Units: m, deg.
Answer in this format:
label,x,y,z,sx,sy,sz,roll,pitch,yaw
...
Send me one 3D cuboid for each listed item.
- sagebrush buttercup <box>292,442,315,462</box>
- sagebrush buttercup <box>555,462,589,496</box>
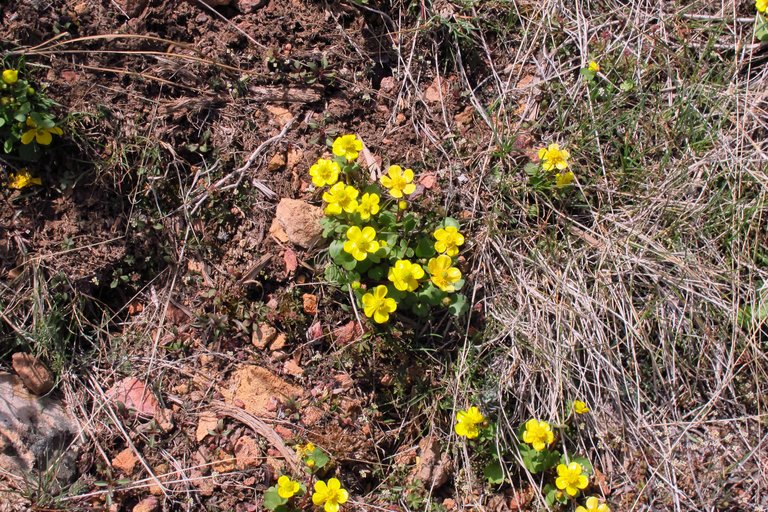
label,x,y,z,sx,sy,sz,roll,pitch,yaw
sagebrush buttercup,-0.519,1.278,3.989,0.115,0.037,0.116,28,43,36
sagebrush buttercup,1.235,1.459,3.991,0.202,0.217,0.090,-7,101,-8
